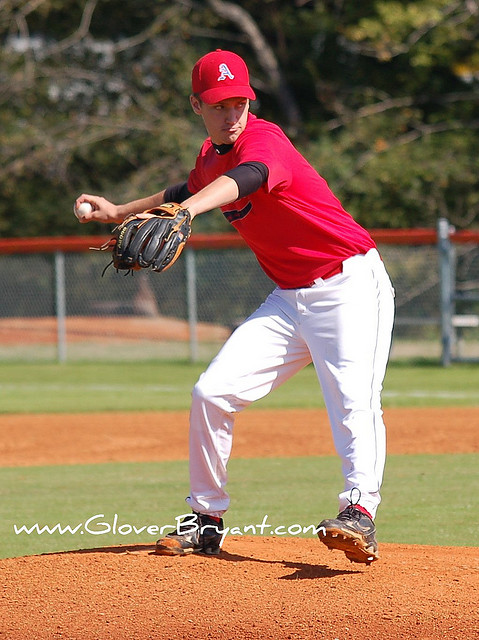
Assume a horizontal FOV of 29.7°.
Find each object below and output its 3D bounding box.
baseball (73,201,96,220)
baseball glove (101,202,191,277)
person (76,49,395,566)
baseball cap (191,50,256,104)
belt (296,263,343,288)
[{"bbox_3d":[-0.685,-0.490,4.056,0.098,0.078,0.107,-10,-2,-37],"label":"baseball"},{"bbox_3d":[-0.296,-0.280,2.846,0.314,0.136,0.337,-11,34,-8],"label":"baseball glove"},{"bbox_3d":[0.053,-0.052,3.316,0.930,1.955,1.013,-2,1,15],"label":"person"},{"bbox_3d":[-0.059,-0.886,3.265,0.222,0.147,0.291,-15,35,-12],"label":"baseball cap"},{"bbox_3d":[0.293,-0.173,3.339,0.038,0.091,0.093,35,-11,-28],"label":"belt"}]
